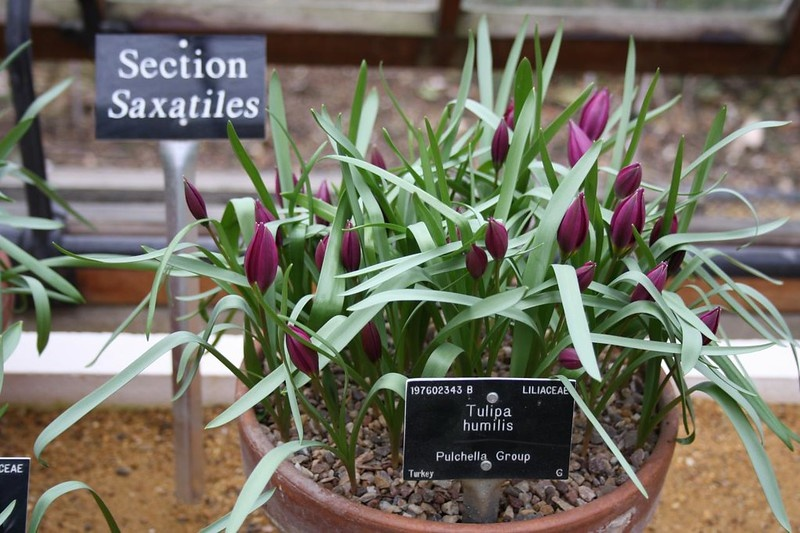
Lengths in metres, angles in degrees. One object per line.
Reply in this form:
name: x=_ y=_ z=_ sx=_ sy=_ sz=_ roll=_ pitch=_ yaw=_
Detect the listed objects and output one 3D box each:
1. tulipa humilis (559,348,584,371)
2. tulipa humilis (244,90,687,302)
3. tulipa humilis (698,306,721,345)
tulipa humilis: x=0.261 y=0.137 z=1.140 sx=0.020 sy=0.035 sz=0.028 roll=13 pitch=71 yaw=37
tulipa humilis: x=0.133 y=-0.140 z=1.240 sx=0.419 sy=0.301 sz=0.456 roll=1 pitch=16 yaw=2
tulipa humilis: x=0.483 y=0.082 z=1.166 sx=0.029 sy=0.028 sz=0.070 roll=5 pitch=44 yaw=15
